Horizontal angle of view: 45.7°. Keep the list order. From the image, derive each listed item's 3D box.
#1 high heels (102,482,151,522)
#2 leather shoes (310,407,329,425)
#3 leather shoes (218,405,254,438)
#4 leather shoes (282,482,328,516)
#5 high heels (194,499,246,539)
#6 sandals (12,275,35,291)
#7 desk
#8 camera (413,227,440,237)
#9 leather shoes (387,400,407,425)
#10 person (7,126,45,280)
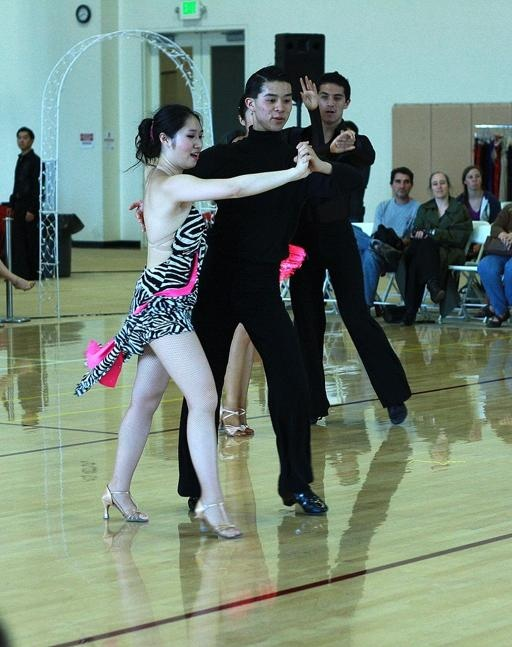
[{"bbox_3d":[-0.525,0.715,2.460,0.261,0.152,0.091,2,2,12],"label":"high heels"},{"bbox_3d":[0.407,0.593,3.972,0.066,0.130,0.196,4,6,-14],"label":"leather shoes"},{"bbox_3d":[-0.133,0.603,3.753,0.105,0.112,0.297,-2,3,-30],"label":"leather shoes"},{"bbox_3d":[0.196,0.712,2.495,0.223,0.093,0.087,5,7,21],"label":"leather shoes"},{"bbox_3d":[-0.145,0.717,2.279,0.206,0.082,0.087,8,9,44],"label":"high heels"},{"bbox_3d":[-2.951,-0.498,7.633,0.454,0.138,0.163,16,29,40],"label":"sandals"},{"bbox_3d":[-4.371,-1.680,12.991,1.533,1.344,1.525,2,5,34],"label":"desk"},{"bbox_3d":[2.168,-1.165,7.757,0.234,0.060,0.148,-13,18,-15],"label":"camera"},{"bbox_3d":[0.899,0.564,3.860,0.101,0.154,0.165,-2,-13,2],"label":"leather shoes"},{"bbox_3d":[-4.577,-2.369,12.015,0.654,2.949,0.536,-1,2,-6],"label":"person"}]
